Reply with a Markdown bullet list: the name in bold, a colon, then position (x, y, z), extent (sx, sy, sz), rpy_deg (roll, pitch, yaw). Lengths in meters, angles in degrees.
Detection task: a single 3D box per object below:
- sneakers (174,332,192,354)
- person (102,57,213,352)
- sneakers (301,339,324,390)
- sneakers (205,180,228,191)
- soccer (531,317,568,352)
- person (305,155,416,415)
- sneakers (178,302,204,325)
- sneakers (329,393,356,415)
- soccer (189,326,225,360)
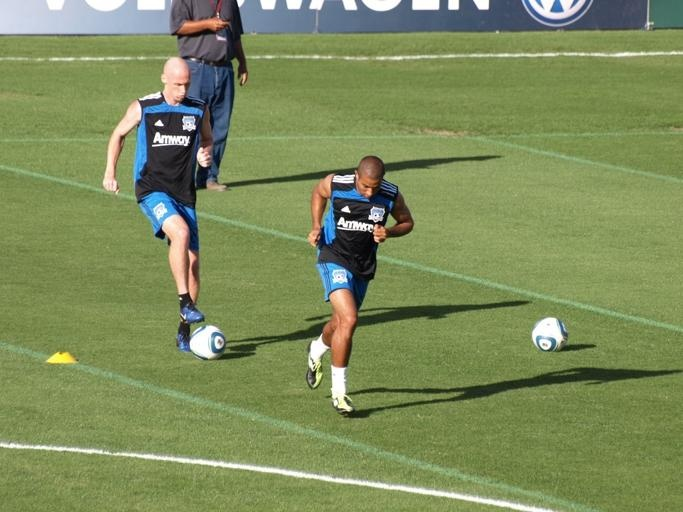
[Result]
- **sneakers**: position (-1.463, 0.803, 11.310), extent (0.113, 0.165, 0.154), rpy_deg (-2, 16, -12)
- **person**: position (-1.739, -0.543, 11.540), extent (1.018, 2.602, 1.255), rpy_deg (-1, 16, -6)
- **sneakers**: position (-0.266, 0.967, 10.808), extent (0.152, 0.404, 0.177), rpy_deg (-3, -5, -29)
- **sneakers**: position (-1.647, -0.952, 16.362), extent (0.338, 0.188, 0.114), rpy_deg (5, 33, 7)
- **soccer**: position (1.923, 0.749, 11.454), extent (0.331, 0.310, 0.315), rpy_deg (6, -12, 2)
- **person**: position (0.146, 0.155, 10.673), extent (0.912, 2.041, 1.316), rpy_deg (2, 16, 2)
- **sneakers**: position (-1.384, 0.534, 11.299), extent (0.187, 0.204, 0.245), rpy_deg (-4, 16, -19)
- **sneakers**: position (0.011, 1.251, 10.289), extent (0.097, 0.122, 0.264), rpy_deg (-4, 7, -28)
- **soccer**: position (-1.234, 0.789, 11.167), extent (0.333, 0.311, 0.312), rpy_deg (-3, 2, -5)
